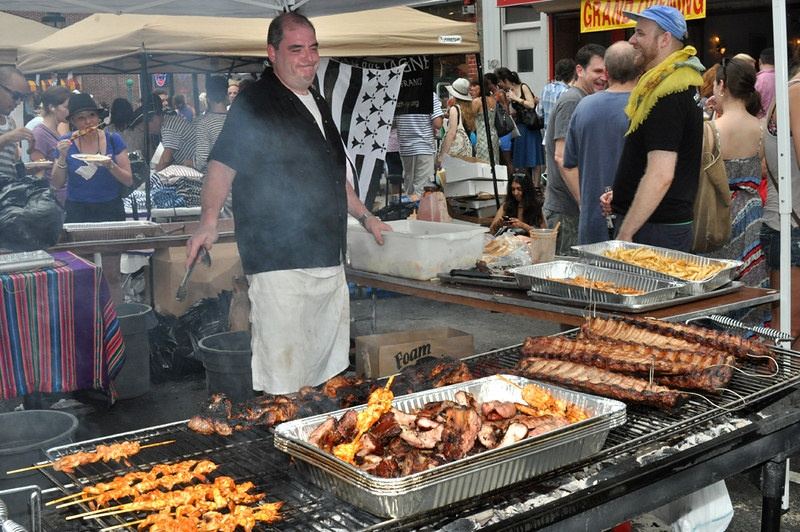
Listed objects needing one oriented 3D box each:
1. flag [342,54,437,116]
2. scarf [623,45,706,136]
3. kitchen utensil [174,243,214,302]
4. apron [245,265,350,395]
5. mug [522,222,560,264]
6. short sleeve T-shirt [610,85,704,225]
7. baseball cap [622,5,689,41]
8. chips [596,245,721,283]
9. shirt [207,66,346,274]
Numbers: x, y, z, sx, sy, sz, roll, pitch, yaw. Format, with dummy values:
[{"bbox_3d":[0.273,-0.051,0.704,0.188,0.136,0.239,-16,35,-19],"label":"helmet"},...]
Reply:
[{"bbox_3d":[-0.151,-1.961,7.040,1.055,0.757,0.014,0,34,-2],"label":"flag"},{"bbox_3d":[1.705,-1.140,4.263,0.461,0.549,0.305,0,14,19],"label":"scarf"},{"bbox_3d":[-1.760,0.063,5.555,0.162,0.605,0.202,1,-29,23],"label":"kitchen utensil"},{"bbox_3d":[-0.636,0.390,4.109,0.645,0.842,0.459,-11,23,-32],"label":"apron"},{"bbox_3d":[0.966,-0.164,4.646,0.314,0.362,0.261,-2,11,-4],"label":"mug"},{"bbox_3d":[1.714,-0.708,4.337,0.486,0.860,0.894,5,15,15],"label":"short sleeve T-shirt"},{"bbox_3d":[1.666,-1.575,4.214,0.382,0.138,0.242,17,17,1],"label":"baseball cap"},{"bbox_3d":[1.590,-0.015,4.027,0.275,0.064,0.470,-14,22,-35],"label":"chips"},{"bbox_3d":[-0.739,-0.586,4.097,0.832,1.248,0.313,-8,13,-15],"label":"shirt"}]
